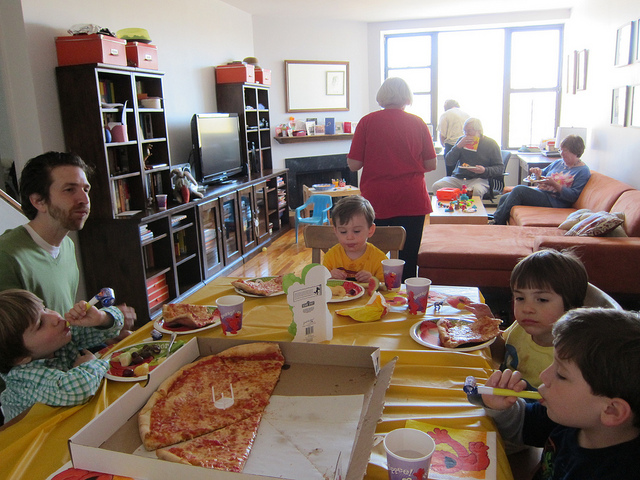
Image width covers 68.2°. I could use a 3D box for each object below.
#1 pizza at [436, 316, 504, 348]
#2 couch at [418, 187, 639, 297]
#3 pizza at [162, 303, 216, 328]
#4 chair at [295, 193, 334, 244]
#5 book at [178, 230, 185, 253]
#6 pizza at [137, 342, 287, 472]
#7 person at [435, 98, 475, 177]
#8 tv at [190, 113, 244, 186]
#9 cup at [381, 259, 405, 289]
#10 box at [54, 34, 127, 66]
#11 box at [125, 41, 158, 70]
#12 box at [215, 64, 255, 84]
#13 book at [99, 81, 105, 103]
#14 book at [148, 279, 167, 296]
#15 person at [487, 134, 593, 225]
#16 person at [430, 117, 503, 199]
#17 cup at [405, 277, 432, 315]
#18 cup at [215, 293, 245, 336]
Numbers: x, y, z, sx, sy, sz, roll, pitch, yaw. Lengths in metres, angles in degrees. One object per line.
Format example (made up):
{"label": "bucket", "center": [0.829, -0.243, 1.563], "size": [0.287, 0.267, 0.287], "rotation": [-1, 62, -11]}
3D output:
{"label": "pizza", "center": [0.488, 0.302, 1.577], "size": [0.128, 0.038, 0.119], "rotation": [-5, 11, 3]}
{"label": "couch", "center": [1.513, 0.016, 3.511], "size": [1.418, 0.611, 1.031], "rotation": [2, 25, 13]}
{"label": "pizza", "center": [-0.474, 0.265, 1.693], "size": [0.110, 0.045, 0.111], "rotation": [8, 9, -6]}
{"label": "chair", "center": [-0.063, -0.236, 5.401], "size": [0.385, 0.503, 0.341], "rotation": [6, 16, 24]}
{"label": "book", "center": [-1.199, 0.015, 4.096], "size": [0.053, 0.190, 0.019], "rotation": [-13, 19, -31]}
{"label": "pizza", "center": [-0.282, 0.437, 1.250], "size": [0.201, 0.068, 0.340], "rotation": [6, 17, 13]}
{"label": "person", "center": [1.983, -1.411, 7.025], "size": [0.557, 1.347, 0.419], "rotation": [-7, 21, -7]}
{"label": "tv", "center": [-1.084, -0.937, 4.874], "size": [0.238, 0.610, 0.820], "rotation": [5, 19, 13]}
{"label": "cup", "center": [0.299, 0.151, 1.947], "size": [0.109, 0.110, 0.101], "rotation": [-1, -1, 0]}
{"label": "box", "center": [-1.538, -1.268, 3.335], "size": [0.400, 0.233, 0.402], "rotation": [2, 13, 19]}
{"label": "box", "center": [-1.355, -1.422, 3.642], "size": [0.215, 0.138, 0.216], "rotation": [9, 25, 15]}
{"label": "box", "center": [-0.958, -1.897, 5.422], "size": [0.470, 0.204, 0.230], "rotation": [-9, 17, -22]}
{"label": "book", "center": [-1.537, -1.045, 3.341], "size": [0.022, 0.145, 0.093], "rotation": [-7, 17, -13]}
{"label": "book", "center": [-1.279, 0.366, 3.689], "size": [0.123, 0.035, 0.134], "rotation": [-9, 15, 36]}
{"label": "person", "center": [2.312, -0.576, 5.051], "size": [0.856, 1.116, 0.625], "rotation": [7, 21, -2]}
{"label": "person", "center": [1.930, -0.893, 6.232], "size": [0.876, 1.297, 0.773], "rotation": [-2, 11, -11]}
{"label": "cup", "center": [0.365, 0.210, 1.759], "size": [0.104, 0.110, 0.107], "rotation": [3, 11, -1]}
{"label": "cup", "center": [-0.294, 0.256, 1.646], "size": [0.118, 0.122, 0.119], "rotation": [-1, 5, 0]}
